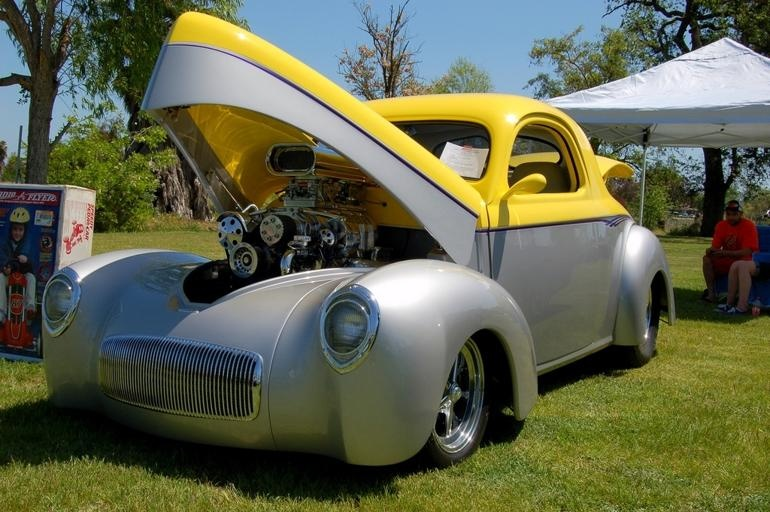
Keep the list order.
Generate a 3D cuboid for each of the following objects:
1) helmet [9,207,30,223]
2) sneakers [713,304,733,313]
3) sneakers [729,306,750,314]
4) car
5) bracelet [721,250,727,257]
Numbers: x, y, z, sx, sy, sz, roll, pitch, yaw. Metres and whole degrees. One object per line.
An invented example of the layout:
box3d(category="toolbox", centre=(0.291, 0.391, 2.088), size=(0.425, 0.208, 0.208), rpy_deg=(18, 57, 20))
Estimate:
box3d(category="helmet", centre=(-3.410, -0.372, 5.154), size=(0.118, 0.097, 0.176), rpy_deg=(5, 19, -12))
box3d(category="sneakers", centre=(4.944, 0.757, 8.033), size=(0.206, 0.105, 0.292), rpy_deg=(7, 10, 33))
box3d(category="sneakers", centre=(5.121, 0.797, 7.972), size=(0.271, 0.118, 0.106), rpy_deg=(6, -4, -7))
box3d(category="car", centre=(0.290, 0.016, 4.493), size=(2.387, 2.041, 4.073), rpy_deg=(-3, -4, 37))
box3d(category="bracelet", centre=(5.126, -0.028, 8.334), size=(0.051, 0.069, 0.071), rpy_deg=(7, 15, 33))
